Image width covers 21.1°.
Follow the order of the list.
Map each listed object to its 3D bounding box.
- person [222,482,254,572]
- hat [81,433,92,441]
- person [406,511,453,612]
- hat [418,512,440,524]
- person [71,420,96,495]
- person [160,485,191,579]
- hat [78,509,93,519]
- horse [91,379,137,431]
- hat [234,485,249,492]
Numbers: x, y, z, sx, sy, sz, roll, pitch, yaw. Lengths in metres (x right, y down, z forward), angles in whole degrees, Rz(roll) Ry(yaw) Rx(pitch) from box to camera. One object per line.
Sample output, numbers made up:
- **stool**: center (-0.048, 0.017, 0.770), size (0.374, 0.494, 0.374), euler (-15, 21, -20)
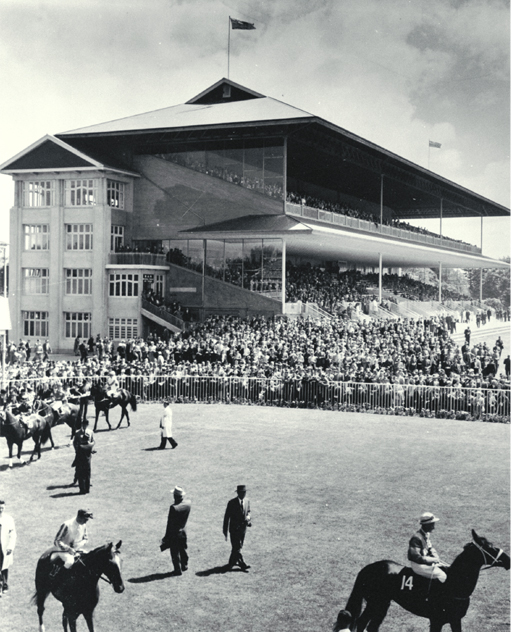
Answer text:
- **person**: center (-0.395, 4.329, 27.772), size (0.519, 1.773, 1.389), euler (0, -1, 0)
- **hat**: center (-3.717, 2.751, 30.316), size (0.134, 0.227, 0.442), euler (0, -2, 12)
- **person**: center (3.219, 4.589, 25.883), size (0.716, 1.632, 0.668), euler (5, 14, 19)
- **hat**: center (3.160, 3.858, 25.790), size (0.395, 0.223, 0.421), euler (-1, 2, 30)
- **person**: center (-3.905, 3.265, 31.121), size (0.501, 1.614, 2.106), euler (1, -2, -7)
- **person**: center (-1.619, 4.362, 27.433), size (0.530, 1.823, 0.761), euler (1, -1, -5)
- **hat**: center (-3.258, 3.834, 26.113), size (0.267, 0.200, 0.356), euler (1, -2, -13)
- **horse**: center (-3.850, 2.450, 36.823), size (1.278, 1.211, 0.406), euler (0, 14, -15)
- **hat**: center (-0.256, 3.507, 27.339), size (0.251, 0.119, 0.235), euler (0, 2, -26)
